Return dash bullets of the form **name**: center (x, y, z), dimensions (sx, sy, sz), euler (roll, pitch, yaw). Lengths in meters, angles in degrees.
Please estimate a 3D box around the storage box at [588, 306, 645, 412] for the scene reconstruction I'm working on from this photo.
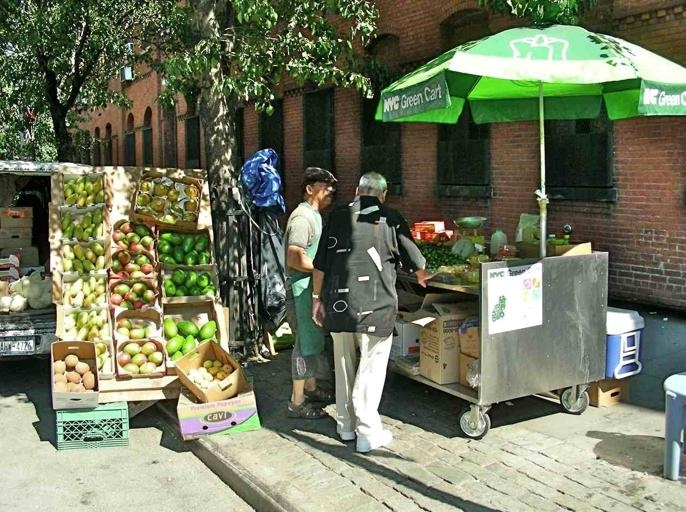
- **storage box**: center (2.901, 1.103, 6.271), dimensions (0.630, 1.017, 0.612), euler (2, 12, -18)

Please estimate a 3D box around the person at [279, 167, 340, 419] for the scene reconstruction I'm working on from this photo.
- **person**: center (-0.282, 0.384, 6.047), dimensions (0.809, 2.563, 0.888), euler (1, 8, 2)

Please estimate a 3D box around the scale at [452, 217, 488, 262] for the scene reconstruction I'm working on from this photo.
- **scale**: center (1.564, -0.254, 7.010), dimensions (0.329, 0.402, 0.351), euler (-5, 4, -22)

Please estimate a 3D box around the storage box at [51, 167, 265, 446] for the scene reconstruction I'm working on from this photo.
- **storage box**: center (-2.322, 0.550, 6.298), dimensions (1.976, 3.296, 0.779), euler (-2, -36, -15)

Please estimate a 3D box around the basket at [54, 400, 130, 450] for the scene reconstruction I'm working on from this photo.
- **basket**: center (-2.477, 1.699, 5.651), dimensions (0.697, 0.421, 0.127), euler (-4, 9, -9)

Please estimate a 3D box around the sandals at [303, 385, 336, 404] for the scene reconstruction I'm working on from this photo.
- **sandals**: center (-0.260, 1.526, 6.254), dimensions (0.422, 0.183, 0.151), euler (-3, 18, -11)

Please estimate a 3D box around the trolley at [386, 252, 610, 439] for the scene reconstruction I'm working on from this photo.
- **trolley**: center (1.612, 0.740, 6.260), dimensions (1.757, 1.725, 1.711), euler (-4, 7, -27)

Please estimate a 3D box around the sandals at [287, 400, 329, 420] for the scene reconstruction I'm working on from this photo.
- **sandals**: center (-0.394, 1.594, 5.954), dimensions (0.335, 0.153, 0.174), euler (0, 3, 5)
